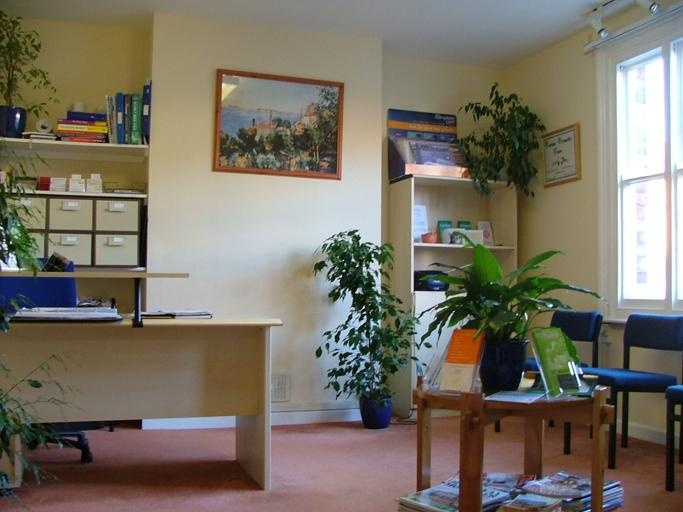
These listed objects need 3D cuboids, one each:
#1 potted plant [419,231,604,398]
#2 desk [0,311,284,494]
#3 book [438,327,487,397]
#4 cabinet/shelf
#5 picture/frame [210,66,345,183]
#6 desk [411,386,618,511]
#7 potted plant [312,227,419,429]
[{"bbox_3d":[0.771,0.314,2.712,0.883,0.704,0.706,-3,-7,23],"label":"potted plant"},{"bbox_3d":[-1.243,0.811,3.733,1.932,1.290,0.934,1,2,-11],"label":"desk"},{"bbox_3d":[0.531,0.468,2.516,0.182,0.267,0.063,-2,-20,44],"label":"book"},{"bbox_3d":[1.216,0.259,5.788,0.961,1.876,0.485,-7,2,2],"label":"cabinet/shelf"},{"bbox_3d":[-0.651,-1.210,5.250,1.062,0.848,0.036,3,-3,-17],"label":"picture/frame"},{"bbox_3d":[0.770,0.728,2.677,0.807,0.613,0.749,3,-5,-15],"label":"desk"},{"bbox_3d":[0.218,0.625,5.127,0.926,1.746,0.770,1,-3,-15],"label":"potted plant"}]
